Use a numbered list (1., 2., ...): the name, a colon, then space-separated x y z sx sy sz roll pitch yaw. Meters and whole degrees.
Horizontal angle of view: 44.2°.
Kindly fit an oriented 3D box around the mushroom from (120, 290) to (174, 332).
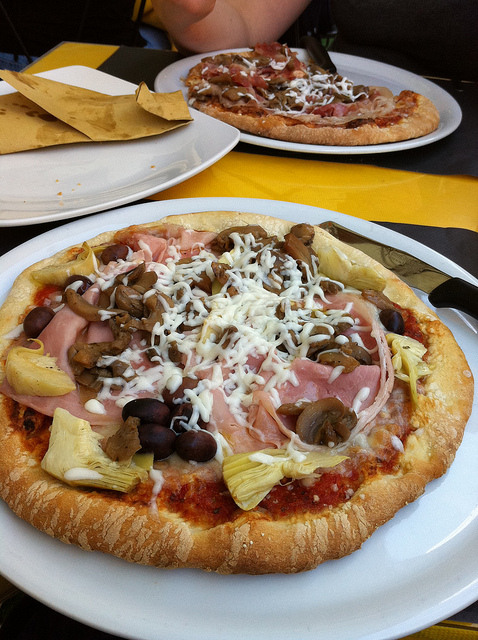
1. mushroom: -0.209 -0.016 1.412 0.073 0.031 0.104 28 58 6

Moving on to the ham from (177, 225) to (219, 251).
1. ham: -0.127 -0.236 1.696 0.092 0.023 0.081 -4 29 -10

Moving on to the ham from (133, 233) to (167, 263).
1. ham: -0.245 -0.192 1.670 0.103 0.036 0.089 13 42 -13

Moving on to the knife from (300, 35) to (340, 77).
1. knife: 0.443 -1.492 3.296 0.126 0.109 0.453 -1 46 -21

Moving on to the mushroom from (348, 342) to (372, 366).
1. mushroom: 0.278 0.079 1.395 0.048 0.013 0.058 -16 51 -40

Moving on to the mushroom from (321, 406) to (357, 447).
1. mushroom: 0.213 0.225 1.236 0.071 0.031 0.079 21 75 10

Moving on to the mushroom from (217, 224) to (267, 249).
1. mushroom: 0.000 -0.245 1.670 0.114 0.033 0.073 -9 36 -8

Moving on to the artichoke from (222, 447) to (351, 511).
1. artichoke: 0.097 0.303 1.184 0.265 0.081 0.080 -9 30 -9

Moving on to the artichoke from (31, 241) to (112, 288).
1. artichoke: -0.457 -0.146 1.591 0.224 0.059 0.180 -15 26 -39

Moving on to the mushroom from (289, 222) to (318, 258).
1. mushroom: 0.190 -0.234 1.689 0.093 0.076 0.023 47 60 -9

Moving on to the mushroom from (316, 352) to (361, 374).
1. mushroom: 0.227 0.094 1.321 0.071 0.017 0.049 19 42 33

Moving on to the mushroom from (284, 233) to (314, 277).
1. mushroom: 0.149 -0.177 1.616 0.030 0.070 0.120 -43 46 11

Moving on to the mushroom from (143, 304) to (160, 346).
1. mushroom: -0.208 0.016 1.399 0.027 0.069 0.082 -37 53 16

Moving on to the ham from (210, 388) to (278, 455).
1. ham: -0.013 0.229 1.307 0.097 0.029 0.134 -27 74 -6

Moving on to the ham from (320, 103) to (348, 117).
1. ham: 0.447 -0.979 2.751 0.107 0.028 0.098 -14 41 -31

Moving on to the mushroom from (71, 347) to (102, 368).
1. mushroom: -0.341 0.082 1.319 0.053 0.018 0.043 38 61 24

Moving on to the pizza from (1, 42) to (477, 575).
1. pizza: -0.025 0.101 1.375 1.165 0.180 0.949 -1 47 1

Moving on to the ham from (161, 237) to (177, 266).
1. ham: -0.198 -0.193 1.649 0.047 0.021 0.071 25 58 -32

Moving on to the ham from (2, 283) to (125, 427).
1. ham: -0.376 0.063 1.353 0.267 0.056 0.303 17 64 13
